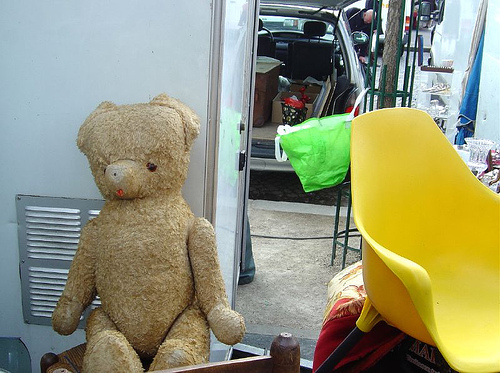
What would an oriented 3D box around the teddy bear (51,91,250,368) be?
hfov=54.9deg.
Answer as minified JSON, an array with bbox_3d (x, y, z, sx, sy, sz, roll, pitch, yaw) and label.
[{"bbox_3d":[-0.395,0.150,1.750,0.590,0.949,0.615,-2,14,-29],"label":"teddy bear"}]

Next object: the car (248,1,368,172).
[{"bbox_3d":[0.737,-1.413,6.173,1.504,1.410,2.577,0,20,6],"label":"car"}]

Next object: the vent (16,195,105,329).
[{"bbox_3d":[-0.747,0.273,1.923,0.476,0.705,0.067,4,12,10],"label":"vent"}]
